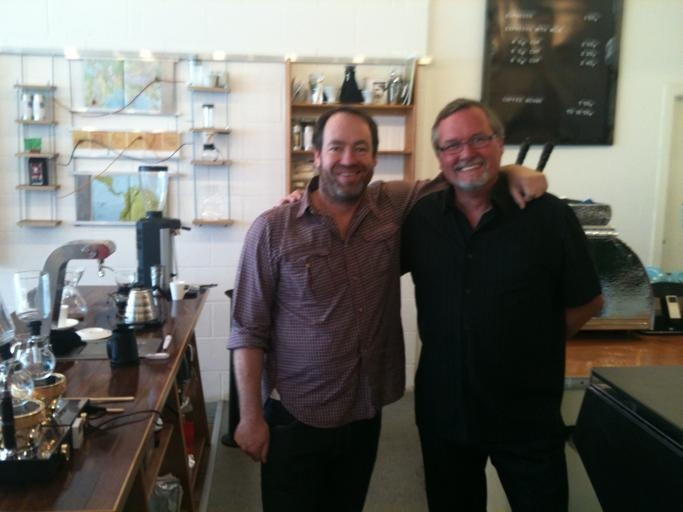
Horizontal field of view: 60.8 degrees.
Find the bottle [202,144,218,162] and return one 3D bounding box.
[{"bbox_3d":[-0.957,-0.758,4.244,0.124,0.111,0.118,0,-3,-8],"label":"bottle"}]

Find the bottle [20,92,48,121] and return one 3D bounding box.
[{"bbox_3d":[-2.170,-1.056,4.089,0.216,0.220,0.131,0,9,-25],"label":"bottle"}]

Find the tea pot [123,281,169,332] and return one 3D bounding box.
[{"bbox_3d":[-1.003,0.266,3.046,0.176,0.215,0.261,0,-1,-32],"label":"tea pot"}]

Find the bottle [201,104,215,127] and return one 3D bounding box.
[{"bbox_3d":[-0.967,-1.028,4.233,0.100,0.176,0.100,-3,9,0],"label":"bottle"}]

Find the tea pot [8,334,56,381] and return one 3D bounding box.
[{"bbox_3d":[-1.111,0.375,2.115,0.137,0.156,0.169,-2,-9,-4],"label":"tea pot"}]

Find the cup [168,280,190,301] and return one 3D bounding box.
[{"bbox_3d":[-0.955,0.199,3.489,0.134,0.105,0.087,2,-2,-31],"label":"cup"}]
